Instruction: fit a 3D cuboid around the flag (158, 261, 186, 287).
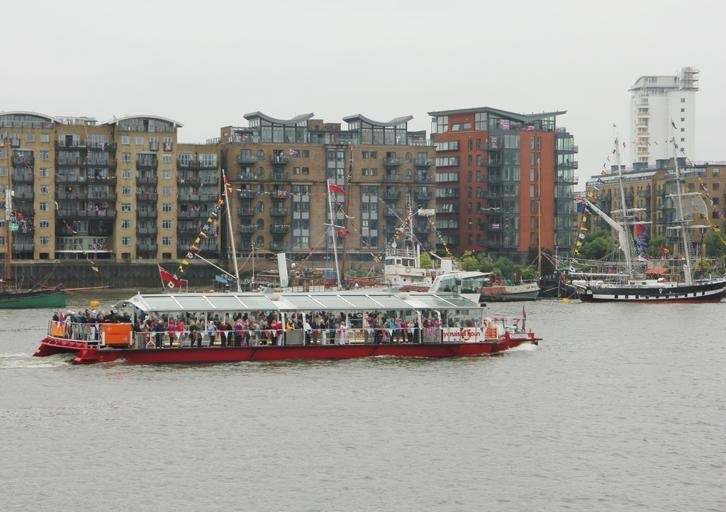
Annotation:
[{"bbox_3d":[-20.263,1.893,185.640,3.019,2.708,0.259,11,39,11],"label":"flag"}]
